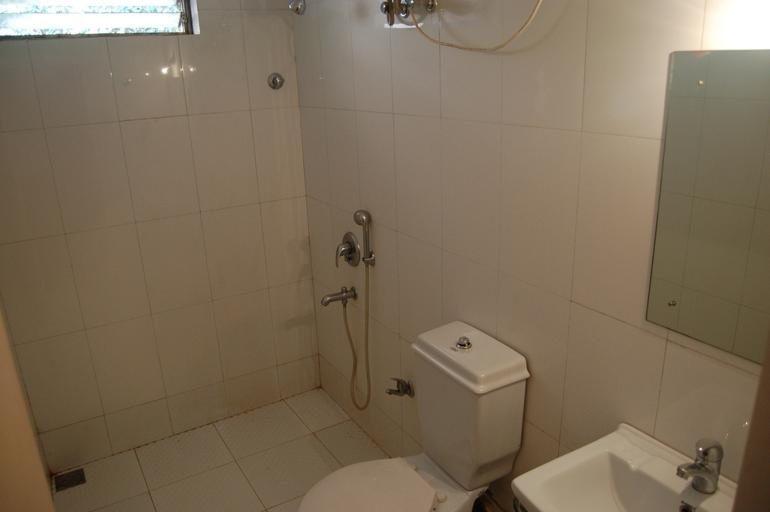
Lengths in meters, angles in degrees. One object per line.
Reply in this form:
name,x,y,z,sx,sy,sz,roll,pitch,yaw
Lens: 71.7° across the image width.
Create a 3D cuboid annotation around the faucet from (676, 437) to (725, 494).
faucet,0.982,0.639,1.653,0.118,0.186,0.109,16,29,32
